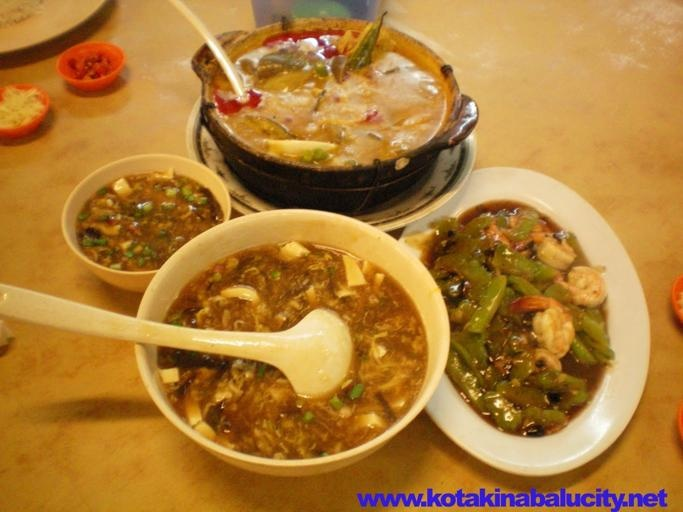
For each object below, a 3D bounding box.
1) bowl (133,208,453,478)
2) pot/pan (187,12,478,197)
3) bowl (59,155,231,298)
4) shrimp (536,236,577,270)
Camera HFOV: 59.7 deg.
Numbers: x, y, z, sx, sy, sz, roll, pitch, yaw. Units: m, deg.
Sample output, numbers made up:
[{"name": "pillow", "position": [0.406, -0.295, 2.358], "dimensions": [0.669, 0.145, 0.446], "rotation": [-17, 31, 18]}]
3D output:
[{"name": "bowl", "position": [-0.182, 0.354, 2.170], "dimensions": [1.131, 0.598, 1.166], "rotation": [3, 26, -1]}, {"name": "pot/pan", "position": [-0.054, -0.797, 2.778], "dimensions": [1.234, 0.608, 1.051], "rotation": [-8, 29, -18]}, {"name": "bowl", "position": [-0.905, -0.172, 2.485], "dimensions": [0.683, 0.278, 0.639], "rotation": [4, 57, -6]}, {"name": "shrimp", "position": [0.970, -0.007, 2.725], "dimensions": [0.160, 0.061, 0.153], "rotation": [30, 20, -14]}]
